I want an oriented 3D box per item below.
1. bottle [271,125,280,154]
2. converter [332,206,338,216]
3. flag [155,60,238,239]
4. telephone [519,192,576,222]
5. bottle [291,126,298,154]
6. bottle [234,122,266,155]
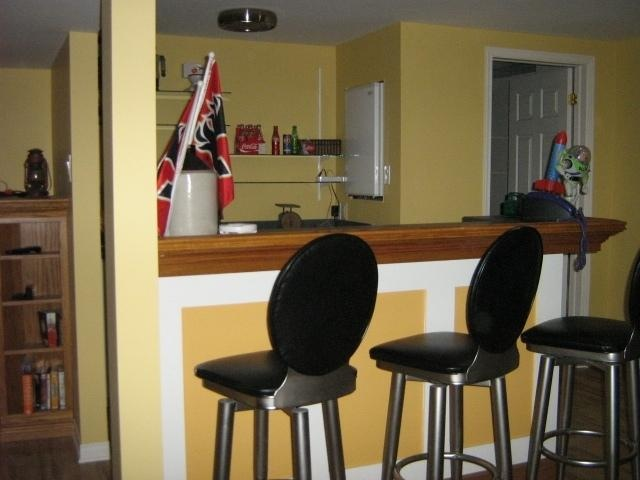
[{"bbox_3d":[-0.402,-0.892,5.657,0.085,0.279,0.227,-1,4,-3],"label":"bottle"},{"bbox_3d":[0.142,-0.266,5.995,0.074,0.101,0.054,0,4,3],"label":"converter"},{"bbox_3d":[-0.513,-0.383,2.561,0.313,0.730,0.137,-2,4,-19],"label":"flag"},{"bbox_3d":[1.126,-0.158,3.113,0.158,0.090,0.171,-1,4,-1],"label":"telephone"},{"bbox_3d":[-0.229,-0.897,5.670,0.069,0.259,0.084,-1,4,-3],"label":"bottle"},{"bbox_3d":[-0.624,-0.867,5.487,0.262,0.331,0.224,-2,8,-10],"label":"bottle"}]
